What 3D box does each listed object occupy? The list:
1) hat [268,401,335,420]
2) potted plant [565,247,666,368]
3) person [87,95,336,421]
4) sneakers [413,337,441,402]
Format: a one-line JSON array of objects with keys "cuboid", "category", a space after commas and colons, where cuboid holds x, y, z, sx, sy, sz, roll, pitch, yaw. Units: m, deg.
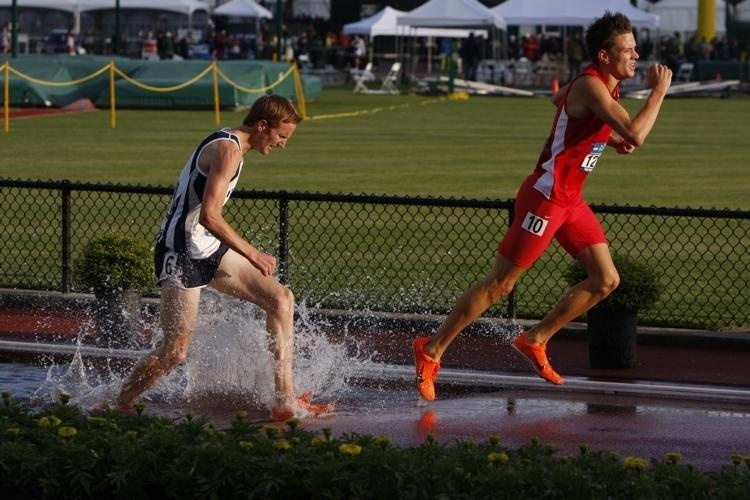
[{"cuboid": [-0.542, 1.222, 9.832, 0.327, 0.077, 0.198, -1, 6, -21], "category": "hat"}, {"cuboid": [1.976, 0.489, 11.147, 0.840, 0.929, 0.887, -3, 10, -19], "category": "potted plant"}, {"cuboid": [-1.108, 0.073, 9.567, 1.361, 2.396, 0.583, 1, 11, -6], "category": "person"}, {"cuboid": [0.422, 0.931, 10.174, 0.207, 0.495, 0.183, -7, -2, 29], "category": "sneakers"}]
